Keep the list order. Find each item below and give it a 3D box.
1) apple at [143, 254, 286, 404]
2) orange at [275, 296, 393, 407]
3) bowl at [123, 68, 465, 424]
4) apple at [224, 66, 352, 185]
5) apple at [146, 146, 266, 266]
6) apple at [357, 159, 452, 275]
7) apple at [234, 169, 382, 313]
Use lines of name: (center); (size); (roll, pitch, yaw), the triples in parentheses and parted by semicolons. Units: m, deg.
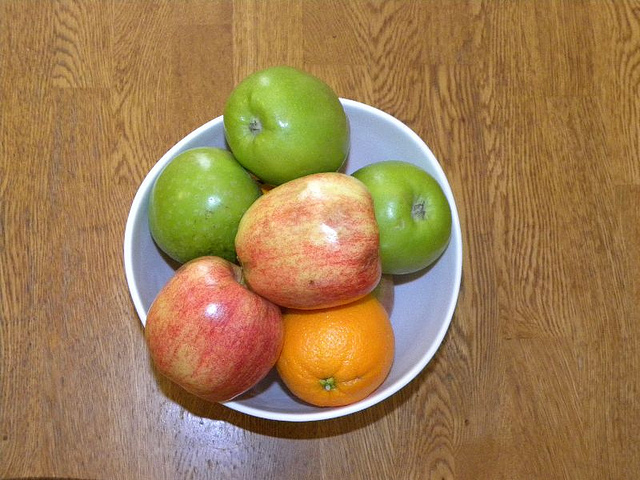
apple: (-0.167, 0.144, 1.232); (0.188, 0.223, 0.203); (-28, 5, 3)
orange: (0.026, 0.207, 1.169); (0.147, 0.173, 0.191); (-8, 55, 13)
bowl: (-0.095, -0.090, 1.274); (0.453, 0.574, 0.293); (4, 24, 31)
apple: (-0.051, -0.200, 1.181); (0.190, 0.213, 0.186); (5, 18, -7)
apple: (-0.194, -0.058, 1.280); (0.165, 0.185, 0.194); (-21, 61, -1)
apple: (0.147, -0.052, 1.277); (0.148, 0.173, 0.170); (-16, 43, 7)
apple: (0.029, 0.025, 1.194); (0.169, 0.183, 0.224); (-27, 85, 8)
